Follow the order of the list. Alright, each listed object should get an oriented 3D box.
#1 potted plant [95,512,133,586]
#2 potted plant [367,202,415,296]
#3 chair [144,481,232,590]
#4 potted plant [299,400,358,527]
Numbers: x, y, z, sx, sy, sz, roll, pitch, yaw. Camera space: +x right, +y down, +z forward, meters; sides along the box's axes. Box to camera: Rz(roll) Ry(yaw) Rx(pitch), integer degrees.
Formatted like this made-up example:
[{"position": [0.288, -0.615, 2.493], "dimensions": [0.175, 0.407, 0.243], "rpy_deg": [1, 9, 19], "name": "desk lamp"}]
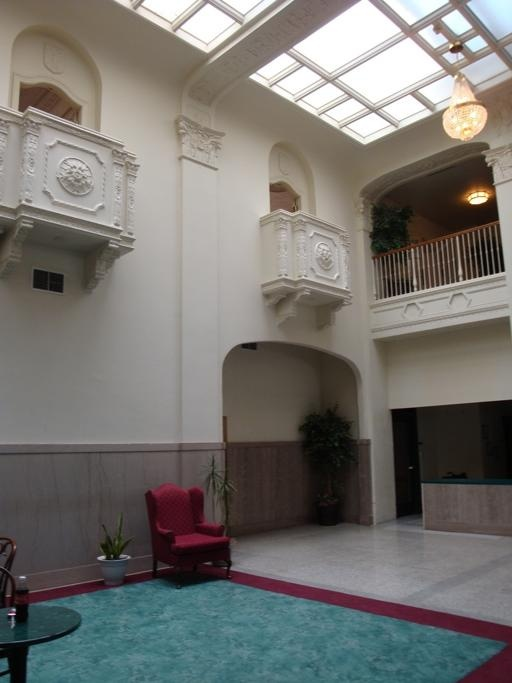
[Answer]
[{"position": [-1.667, 2.403, 6.238], "dimensions": [0.380, 0.706, 0.334], "rpy_deg": [-1, -11, -16], "name": "potted plant"}, {"position": [3.049, -2.048, 11.890], "dimensions": [0.910, 2.198, 0.680], "rpy_deg": [12, -19, -43], "name": "potted plant"}, {"position": [-0.865, 2.321, 6.522], "dimensions": [0.968, 1.000, 0.914], "rpy_deg": [-7, -13, 29], "name": "chair"}, {"position": [1.475, 2.551, 11.201], "dimensions": [0.954, 2.406, 1.103], "rpy_deg": [7, -16, -31], "name": "potted plant"}]
